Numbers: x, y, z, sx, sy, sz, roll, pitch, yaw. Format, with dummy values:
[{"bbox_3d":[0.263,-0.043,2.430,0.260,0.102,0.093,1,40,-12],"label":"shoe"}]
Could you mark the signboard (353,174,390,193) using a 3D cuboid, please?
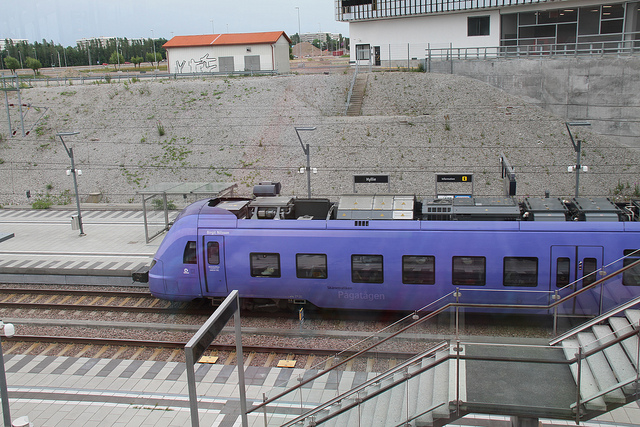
[{"bbox_3d":[2.884,-1.648,32.795,1.938,1.290,0.127,-1,34,3],"label":"signboard"}]
